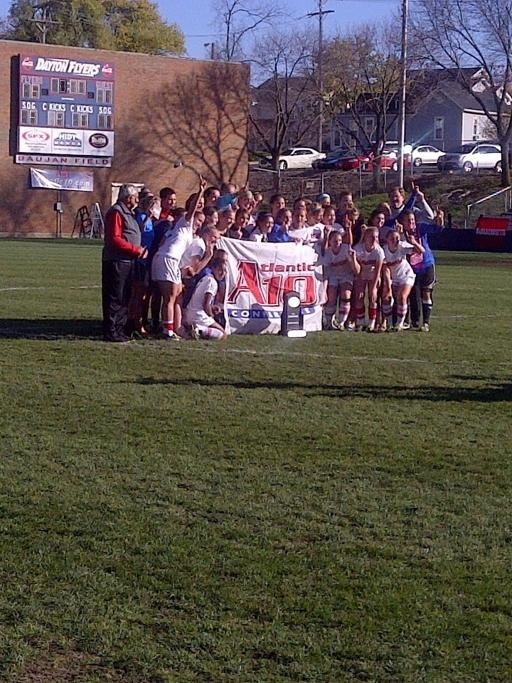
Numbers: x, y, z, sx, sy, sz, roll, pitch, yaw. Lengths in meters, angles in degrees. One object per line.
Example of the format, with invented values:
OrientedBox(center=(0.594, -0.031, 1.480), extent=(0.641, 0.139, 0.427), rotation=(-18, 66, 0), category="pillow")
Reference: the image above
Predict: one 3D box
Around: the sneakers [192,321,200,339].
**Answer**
OrientedBox(center=(-0.585, -0.102, 12.265), extent=(0.058, 0.163, 0.050), rotation=(2, -1, 31), category="sneakers")

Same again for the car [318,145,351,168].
OrientedBox(center=(3.804, -8.943, 61.469), extent=(0.833, 0.719, 1.978), rotation=(-3, 17, 33), category="car")

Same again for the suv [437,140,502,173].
OrientedBox(center=(9.749, -8.426, 57.865), extent=(3.134, 1.494, 1.764), rotation=(-3, 6, -39), category="suv")

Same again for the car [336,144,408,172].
OrientedBox(center=(5.465, -8.501, 58.258), extent=(3.335, 1.418, 6.225), rotation=(2, 5, 7), category="car")

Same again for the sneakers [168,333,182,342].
OrientedBox(center=(-0.775, -0.033, 12.073), extent=(0.049, 0.074, 0.159), rotation=(2, 8, 15), category="sneakers")
